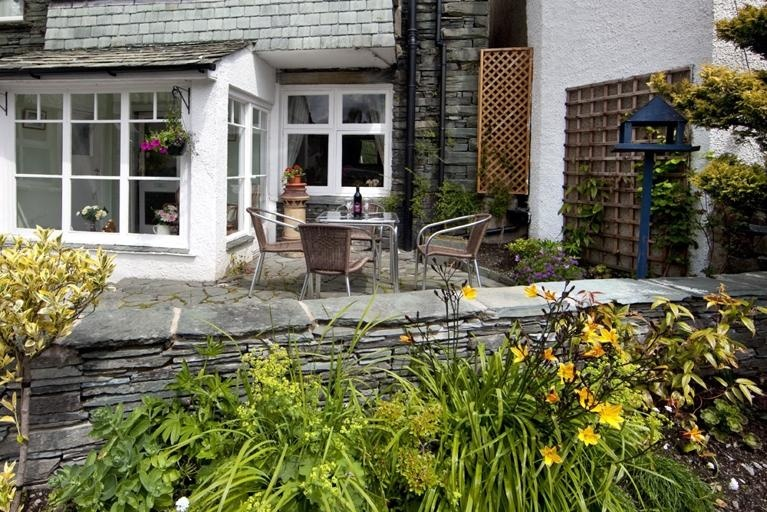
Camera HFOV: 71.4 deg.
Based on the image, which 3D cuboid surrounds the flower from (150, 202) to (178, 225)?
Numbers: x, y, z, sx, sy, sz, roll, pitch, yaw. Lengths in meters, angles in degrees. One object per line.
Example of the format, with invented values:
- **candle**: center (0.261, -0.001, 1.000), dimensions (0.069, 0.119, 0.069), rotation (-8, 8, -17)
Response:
- **flower**: center (-2.832, -0.552, 6.952), dimensions (0.318, 0.285, 0.066), rotation (2, 6, 12)

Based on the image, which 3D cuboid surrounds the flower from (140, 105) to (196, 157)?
- **flower**: center (-2.708, -1.592, 6.780), dimensions (0.594, 0.507, 0.595), rotation (0, 11, -3)

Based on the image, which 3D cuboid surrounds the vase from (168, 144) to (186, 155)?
- **vase**: center (-2.558, -1.326, 6.622), dimensions (0.142, 0.092, 0.143), rotation (-1, 1, -7)

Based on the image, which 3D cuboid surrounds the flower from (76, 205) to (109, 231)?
- **flower**: center (-3.828, -0.507, 7.043), dimensions (0.312, 0.272, 0.314), rotation (1, 5, -2)

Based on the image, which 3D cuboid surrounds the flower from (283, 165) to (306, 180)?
- **flower**: center (-1.438, -1.347, 8.640), dimensions (0.297, 0.210, 0.304), rotation (0, 2, -4)
